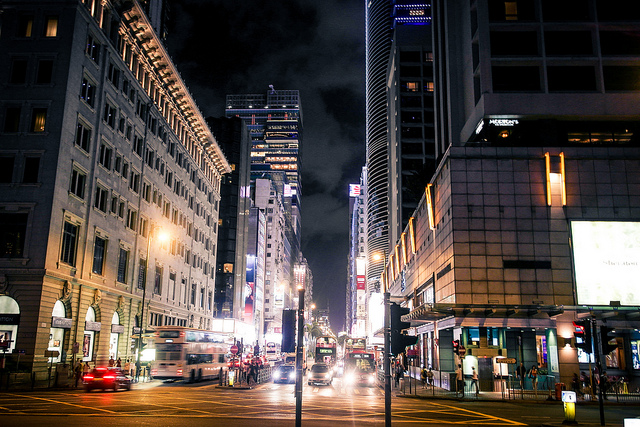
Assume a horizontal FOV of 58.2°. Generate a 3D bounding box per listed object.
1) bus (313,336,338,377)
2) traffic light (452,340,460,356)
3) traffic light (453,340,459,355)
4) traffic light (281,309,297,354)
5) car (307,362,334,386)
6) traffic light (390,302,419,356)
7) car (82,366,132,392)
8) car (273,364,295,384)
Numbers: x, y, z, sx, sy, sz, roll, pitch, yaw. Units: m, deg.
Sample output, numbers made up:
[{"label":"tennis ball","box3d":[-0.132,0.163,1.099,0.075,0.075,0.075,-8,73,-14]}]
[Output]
[{"label":"bus","box3d":[0.964,19.300,80.357,3.528,3.632,5.842,1,-7,1]},{"label":"traffic light","box3d":[13.276,13.081,55.918,0.474,1.443,1.294,-2,-20,9]},{"label":"traffic light","box3d":[13.264,13.046,55.824,0.447,1.442,1.083,-3,-20,12]},{"label":"traffic light","box3d":[-1.631,6.325,30.916,0.754,2.310,1.209,2,-19,-3]},{"label":"car","box3d":[0.040,17.122,61.046,2.482,2.539,4.383,1,-20,0]},{"label":"traffic light","box3d":[4.372,6.096,30.595,1.148,2.798,1.278,-13,-23,35]},{"label":"car","box3d":[-18.097,14.180,48.982,3.599,2.049,1.432,8,-20,-19]},{"label":"car","box3d":[-3.685,17.238,61.470,1.699,1.306,2.846,4,4,1]}]
